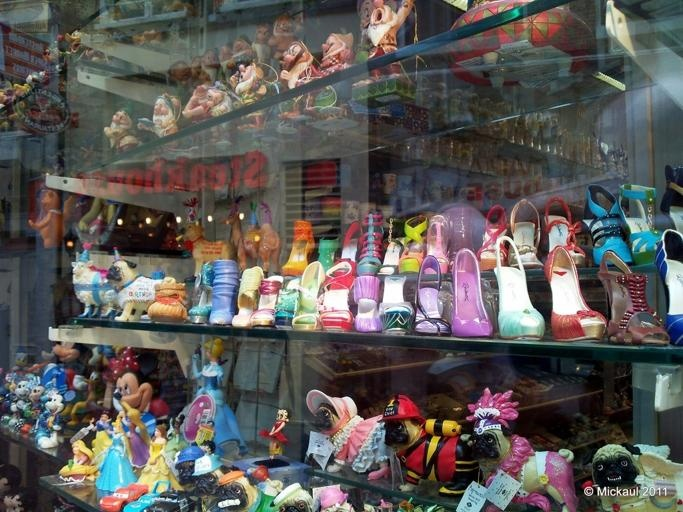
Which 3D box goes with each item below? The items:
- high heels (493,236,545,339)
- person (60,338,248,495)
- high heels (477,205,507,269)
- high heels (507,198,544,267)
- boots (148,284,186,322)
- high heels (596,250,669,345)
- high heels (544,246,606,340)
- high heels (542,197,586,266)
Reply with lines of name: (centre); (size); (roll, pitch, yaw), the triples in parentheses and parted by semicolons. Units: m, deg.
high heels: (0.586, 0.097, 2.204); (0.116, 0.163, 0.407); (-4, 33, 6)
person: (-0.909, 0.718, 3.005); (0.787, 0.824, 0.543); (5, -11, -25)
high heels: (0.594, -0.071, 2.486); (0.101, 0.131, 0.355); (-7, 25, 17)
high heels: (0.698, -0.080, 2.473); (0.094, 0.133, 0.330); (-2, 25, 11)
boots: (-0.784, 0.205, 2.875); (0.143, 0.186, 0.183); (1, -8, -21)
high heels: (0.912, 0.130, 2.053); (0.123, 0.238, 0.356); (0, 16, -4)
high heels: (0.757, 0.116, 2.209); (0.131, 0.167, 0.410); (-11, 20, 5)
high heels: (0.825, -0.096, 2.439); (0.111, 0.150, 0.358); (-9, 24, 7)
